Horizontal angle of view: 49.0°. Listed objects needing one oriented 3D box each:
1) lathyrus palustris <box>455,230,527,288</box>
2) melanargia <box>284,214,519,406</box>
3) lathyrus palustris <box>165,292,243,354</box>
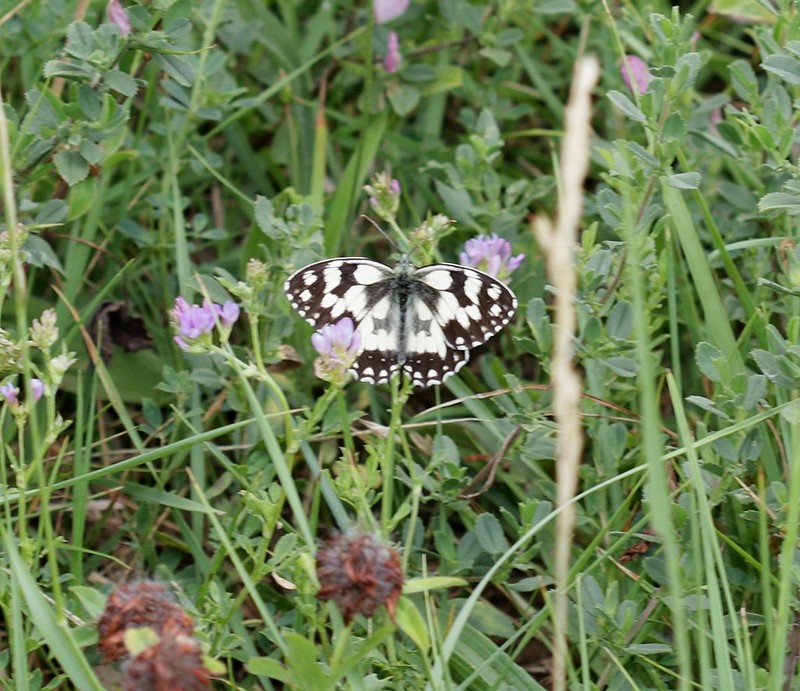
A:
[{"bbox_3d":[0.249,-0.244,2.444,0.156,0.098,0.179,17,20,0],"label":"lathyrus palustris"},{"bbox_3d":[0.018,-0.088,2.418,0.971,0.221,0.424,9,52,-10],"label":"melanargia"},{"bbox_3d":[-0.424,-0.049,1.930,0.139,0.146,0.069,-16,85,-9],"label":"lathyrus palustris"}]
